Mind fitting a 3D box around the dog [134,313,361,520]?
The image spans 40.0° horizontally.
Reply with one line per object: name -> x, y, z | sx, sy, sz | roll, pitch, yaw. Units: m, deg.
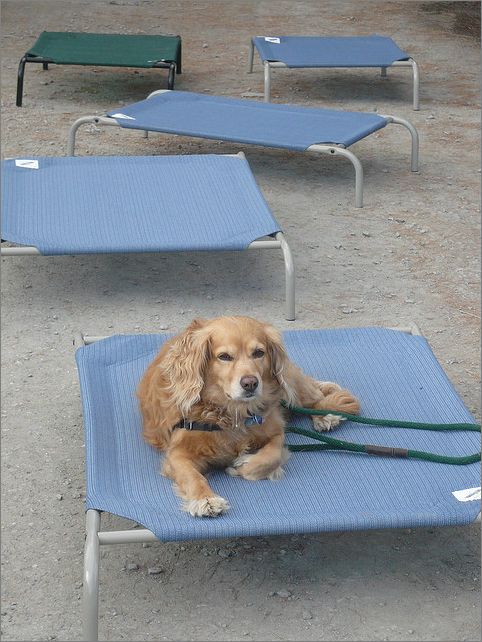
dog -> -0.013, 0.209, 2.033 | 0.701, 0.404, 0.979 | -3, 5, 7

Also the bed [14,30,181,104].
bed -> -1.211, -2.419, 6.282 | 1.432, 0.378, 1.263 | 1, 35, -2

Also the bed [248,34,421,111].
bed -> 0.870, -2.518, 6.482 | 1.563, 0.375, 1.346 | 1, 40, 0
